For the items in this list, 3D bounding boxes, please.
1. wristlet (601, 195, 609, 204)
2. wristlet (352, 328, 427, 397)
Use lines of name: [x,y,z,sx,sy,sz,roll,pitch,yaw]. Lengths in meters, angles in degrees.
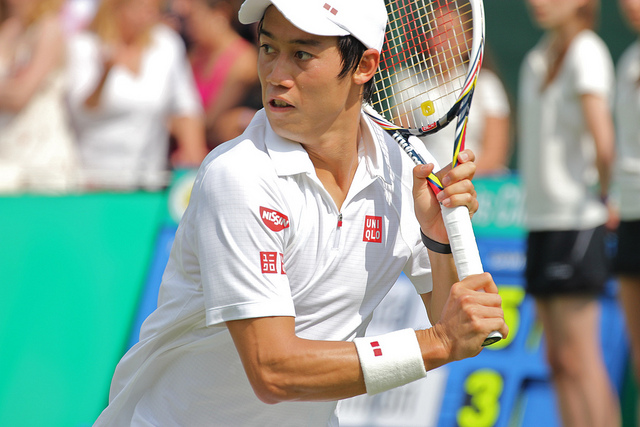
wristlet: [2.180,-0.103,6.390,0.046,0.054,0.048,5,7,40]
wristlet: [0.375,0.774,4.472,0.316,0.380,0.122,-14,-5,-2]
